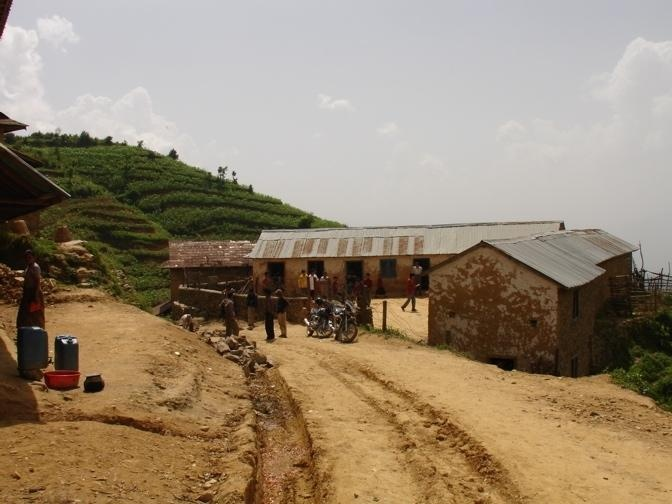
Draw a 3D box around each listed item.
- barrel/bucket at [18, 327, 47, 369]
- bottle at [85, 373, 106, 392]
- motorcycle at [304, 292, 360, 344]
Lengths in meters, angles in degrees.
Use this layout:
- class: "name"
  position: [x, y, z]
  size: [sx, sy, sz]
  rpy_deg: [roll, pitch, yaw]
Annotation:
- class: "barrel/bucket"
  position: [-6.124, 1.964, 11.413]
  size: [0.603, 0.908, 0.268]
  rpy_deg: [-12, 17, -30]
- class: "bottle"
  position: [-4.981, 2.706, 11.685]
  size: [0.322, 0.307, 0.403]
  rpy_deg: [-3, 7, -3]
- class: "motorcycle"
  position: [-0.006, 2.615, 21.666]
  size: [1.183, 1.216, 2.226]
  rpy_deg: [3, -3, -38]
